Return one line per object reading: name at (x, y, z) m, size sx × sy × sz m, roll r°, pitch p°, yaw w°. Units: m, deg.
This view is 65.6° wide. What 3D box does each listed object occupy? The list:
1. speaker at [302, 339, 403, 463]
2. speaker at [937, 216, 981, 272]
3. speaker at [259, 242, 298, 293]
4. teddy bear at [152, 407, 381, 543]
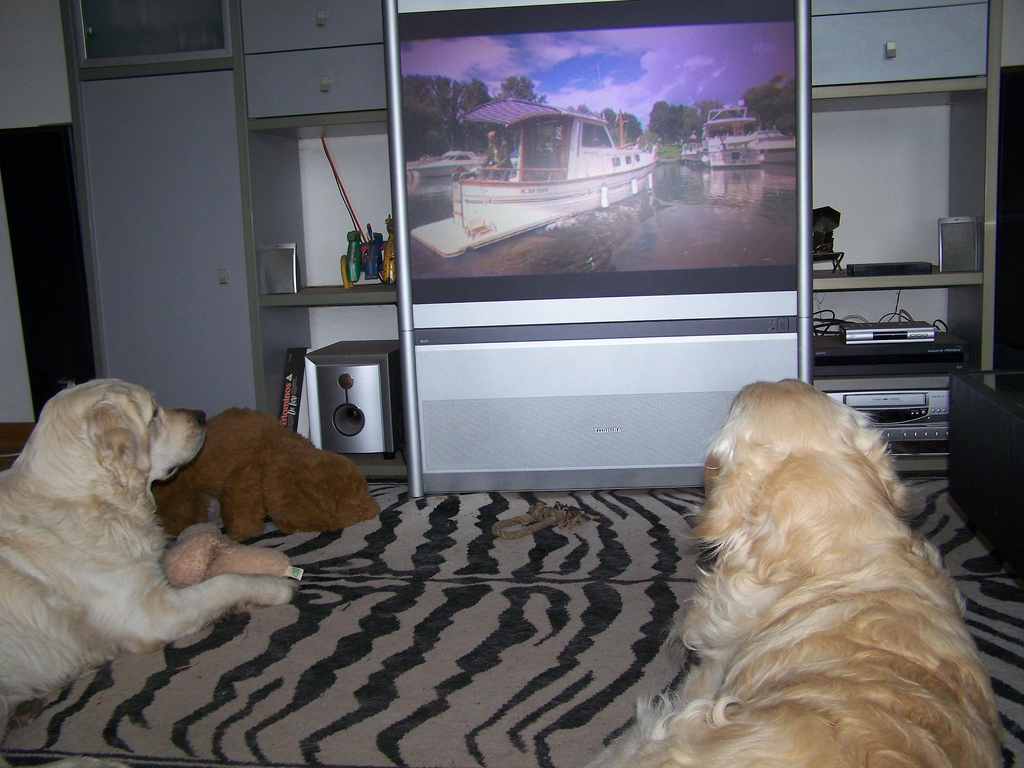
speaker at (-0.774, 0.068, 4.015) m, size 0.460 × 0.508 × 0.615 m, roll 0°, pitch 8°, yaw 7°
speaker at (2.092, -0.655, 3.734) m, size 0.183 × 0.252 × 0.097 m, roll 3°, pitch 15°, yaw 25°
speaker at (-1.198, -0.606, 4.116) m, size 0.273 × 0.271 × 0.146 m, roll -2°, pitch 10°, yaw -3°
teddy bear at (-1.012, 0.414, 3.392) m, size 0.792 × 0.307 × 0.485 m, roll 8°, pitch 23°, yaw -27°
